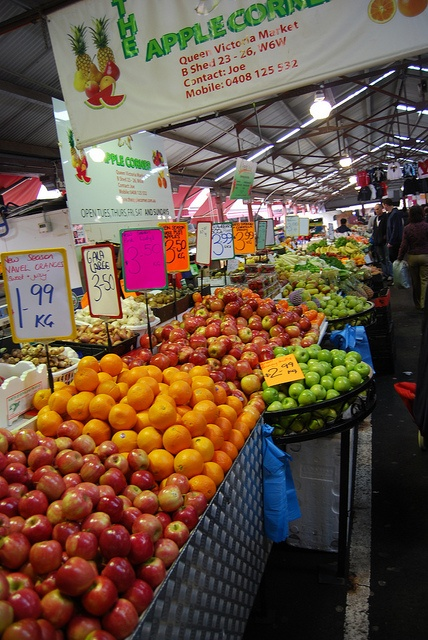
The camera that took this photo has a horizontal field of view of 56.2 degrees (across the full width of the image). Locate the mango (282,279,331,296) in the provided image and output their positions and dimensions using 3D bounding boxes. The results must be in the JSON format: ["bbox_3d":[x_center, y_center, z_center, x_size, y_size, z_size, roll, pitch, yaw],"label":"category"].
[{"bbox_3d":[0.890,-0.317,3.914,0.262,0.088,0.253,-14,12,-29],"label":"mango"}]

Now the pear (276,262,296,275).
[{"bbox_3d":[0.896,-0.684,5.262,0.259,0.160,0.326,-7,6,-26],"label":"pear"}]

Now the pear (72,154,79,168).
[{"bbox_3d":[-1.314,-1.502,3.801,0.034,0.086,0.086,-4,7,14],"label":"pear"}]

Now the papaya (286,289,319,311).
[{"bbox_3d":[0.766,-0.192,3.461,0.110,0.142,0.233,-45,40,-20],"label":"papaya"}]

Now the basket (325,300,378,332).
[{"bbox_3d":[1.151,-0.003,3.277,0.505,0.167,0.272,-16,12,-29],"label":"basket"}]
